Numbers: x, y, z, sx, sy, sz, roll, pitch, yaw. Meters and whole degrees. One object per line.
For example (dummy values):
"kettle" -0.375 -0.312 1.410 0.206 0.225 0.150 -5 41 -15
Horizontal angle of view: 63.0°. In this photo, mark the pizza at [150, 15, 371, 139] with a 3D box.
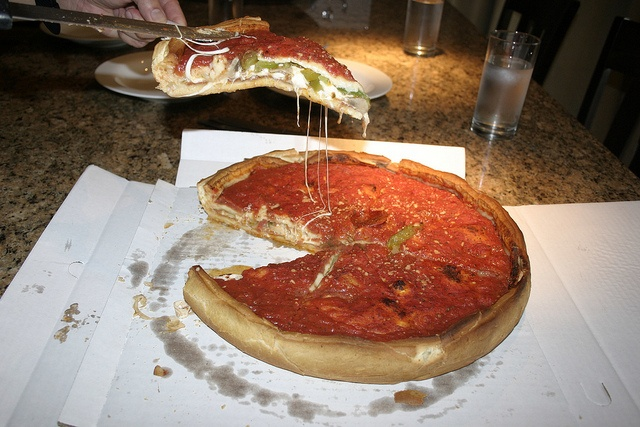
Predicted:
"pizza" -0.265 -0.522 2.157 0.661 0.182 0.460 4 48 -6

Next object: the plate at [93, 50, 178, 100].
"plate" -1.006 -0.680 2.841 0.365 0.072 0.361 5 36 -1

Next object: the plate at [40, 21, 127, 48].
"plate" -1.426 -1.074 3.174 0.316 0.050 0.317 20 15 13

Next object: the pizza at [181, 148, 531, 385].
"pizza" 0.155 0.135 2.060 1.280 0.144 1.040 4 52 3
